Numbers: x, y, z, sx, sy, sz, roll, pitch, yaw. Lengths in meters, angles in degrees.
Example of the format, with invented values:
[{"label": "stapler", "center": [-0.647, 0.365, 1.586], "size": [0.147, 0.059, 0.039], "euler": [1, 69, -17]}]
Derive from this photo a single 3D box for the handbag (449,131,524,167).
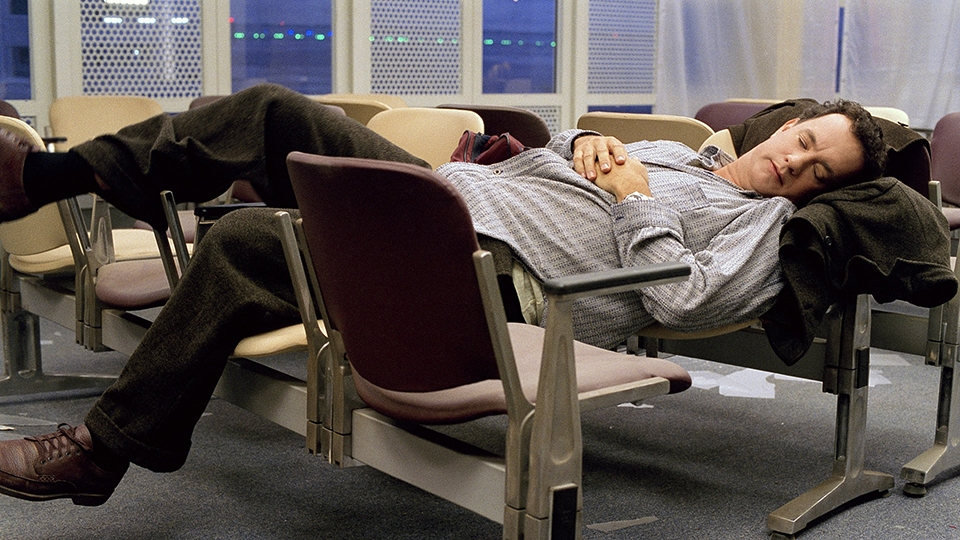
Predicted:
[{"label": "handbag", "center": [0.012, -0.454, 2.932], "size": [0.214, 0.082, 0.160], "euler": [-1, 10, -26]}]
